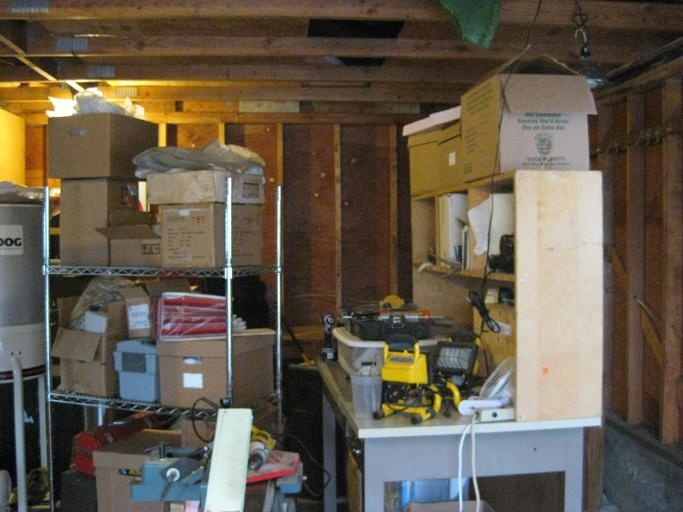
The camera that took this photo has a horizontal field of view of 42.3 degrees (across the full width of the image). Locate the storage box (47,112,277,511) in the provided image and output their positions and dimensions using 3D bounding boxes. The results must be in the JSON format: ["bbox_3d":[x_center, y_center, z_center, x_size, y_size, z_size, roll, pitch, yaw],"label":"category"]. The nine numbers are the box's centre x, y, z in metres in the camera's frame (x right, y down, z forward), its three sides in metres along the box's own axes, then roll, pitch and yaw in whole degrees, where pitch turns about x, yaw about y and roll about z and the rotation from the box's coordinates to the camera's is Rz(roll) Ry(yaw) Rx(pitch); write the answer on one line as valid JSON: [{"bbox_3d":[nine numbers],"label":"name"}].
[{"bbox_3d":[-1.120,-0.003,5.166,1.153,1.676,0.459,0,0,18],"label":"storage box"}]

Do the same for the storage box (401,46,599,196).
[{"bbox_3d":[0.859,-0.768,5.068,0.655,0.642,1.132,-2,3,-18],"label":"storage box"}]

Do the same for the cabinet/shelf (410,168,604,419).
[{"bbox_3d":[0.907,0.211,4.689,0.538,1.302,1.529,-2,2,-14],"label":"cabinet/shelf"}]

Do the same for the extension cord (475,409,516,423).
[{"bbox_3d":[0.795,0.813,4.499,0.181,0.074,0.013,0,0,-5],"label":"extension cord"}]

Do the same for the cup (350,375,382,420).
[{"bbox_3d":[0.100,0.741,4.611,0.207,0.219,0.203,1,0,0],"label":"cup"}]

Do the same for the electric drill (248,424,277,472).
[{"bbox_3d":[-0.425,0.963,4.472,0.206,0.082,0.208,34,27,-23],"label":"electric drill"}]
